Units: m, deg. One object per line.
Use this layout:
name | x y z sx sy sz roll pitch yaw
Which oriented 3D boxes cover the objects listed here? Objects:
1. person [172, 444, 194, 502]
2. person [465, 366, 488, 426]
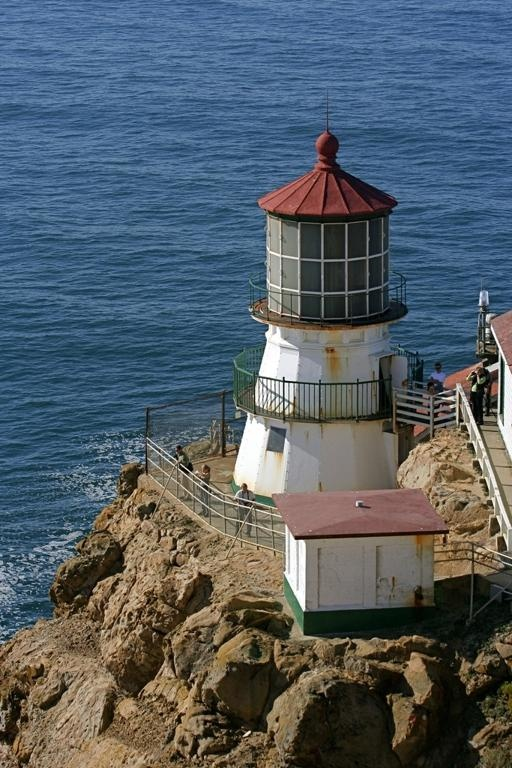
person | -2.079 2.479 30.897 0.471 1.405 1.694 0 1 -4
person | 5.583 0.311 27.832 0.470 1.464 1.372 0 1 12
